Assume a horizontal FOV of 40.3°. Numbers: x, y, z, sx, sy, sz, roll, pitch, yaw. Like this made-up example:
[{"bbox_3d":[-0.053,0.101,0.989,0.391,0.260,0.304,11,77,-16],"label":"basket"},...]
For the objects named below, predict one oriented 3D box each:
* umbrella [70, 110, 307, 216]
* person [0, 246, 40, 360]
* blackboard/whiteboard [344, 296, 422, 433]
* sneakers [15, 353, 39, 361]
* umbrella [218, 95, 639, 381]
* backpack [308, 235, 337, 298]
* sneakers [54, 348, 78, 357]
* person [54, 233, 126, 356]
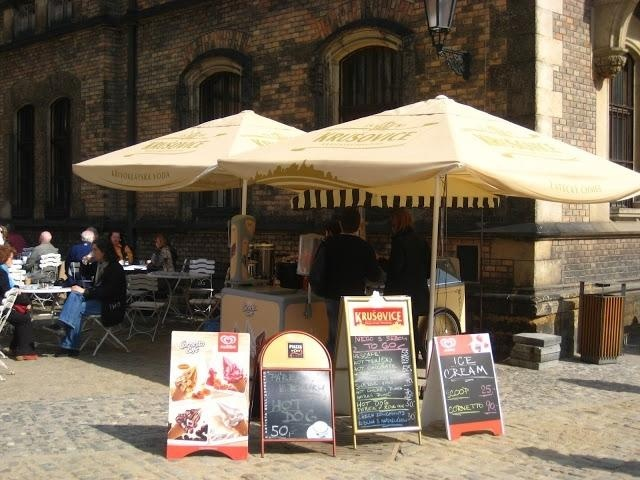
[{"bbox_3d":[-2.086,-1.169,12.212,2.084,0.787,2.026,-6,9,-37],"label":"umbrella"},{"bbox_3d":[-4.370,0.930,12.683,0.468,1.664,0.728,-3,12,-19],"label":"person"},{"bbox_3d":[0.691,1.361,9.822,0.805,1.422,0.615,-1,11,-8],"label":"blackboard/whiteboard"},{"bbox_3d":[-4.264,1.705,12.777,0.204,0.072,0.125,-1,1,-5],"label":"sneakers"},{"bbox_3d":[1.613,-0.485,11.960,5.148,2.994,4.658,5,12,20],"label":"umbrella"},{"bbox_3d":[0.046,0.308,10.912,0.199,0.627,0.456,10,-5,9],"label":"backpack"},{"bbox_3d":[-3.741,1.671,13.004,0.348,0.151,0.131,6,-1,-7],"label":"sneakers"},{"bbox_3d":[-3.413,0.850,13.152,0.997,1.626,0.555,-4,12,-21],"label":"person"}]
